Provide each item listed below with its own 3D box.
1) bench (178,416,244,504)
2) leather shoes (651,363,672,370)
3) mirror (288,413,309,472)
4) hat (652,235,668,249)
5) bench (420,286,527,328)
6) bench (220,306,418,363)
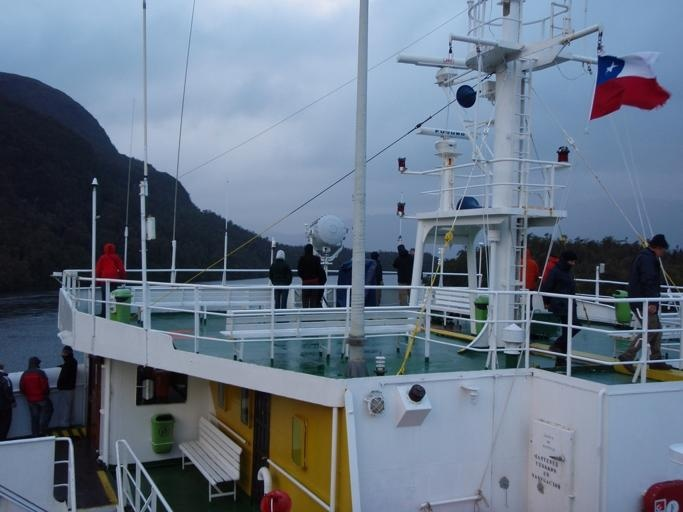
[{"bbox_3d":[-3.244,5.183,16.176,0.677,1.216,2.392,10,-7,-33],"label":"bench"},{"bbox_3d":[6.397,2.178,13.256,0.394,0.200,0.152,-2,-1,16],"label":"leather shoes"},{"bbox_3d":[-0.898,3.850,13.763,0.115,1.096,0.678,1,0,-25],"label":"mirror"},{"bbox_3d":[5.877,-0.269,12.191,0.207,0.165,0.282,-9,17,-40],"label":"hat"},{"bbox_3d":[2.894,1.141,16.095,1.128,0.540,2.116,1,-2,-22],"label":"bench"},{"bbox_3d":[-0.454,1.686,14.120,4.091,1.325,1.016,-2,1,0],"label":"bench"}]
